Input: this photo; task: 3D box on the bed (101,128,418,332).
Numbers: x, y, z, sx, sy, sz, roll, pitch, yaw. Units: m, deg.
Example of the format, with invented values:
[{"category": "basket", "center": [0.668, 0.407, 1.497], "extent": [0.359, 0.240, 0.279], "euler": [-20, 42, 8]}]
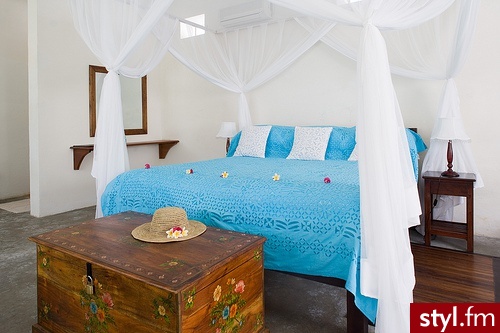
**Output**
[{"category": "bed", "center": [0.507, 0.767, 3.898], "extent": [2.263, 0.998, 2.286], "euler": [2, 5, 27]}]

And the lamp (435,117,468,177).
[{"category": "lamp", "center": [2.294, -0.215, 3.939], "extent": [0.272, 0.659, 0.291], "euler": [4, 7, 20]}]

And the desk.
[{"category": "desk", "center": [2.336, 0.535, 4.035], "extent": [0.597, 0.825, 0.558], "euler": [2, -3, 24]}]

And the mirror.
[{"category": "mirror", "center": [-2.221, -1.091, 5.830], "extent": [0.050, 1.152, 1.142], "euler": [14, 17, 33]}]
